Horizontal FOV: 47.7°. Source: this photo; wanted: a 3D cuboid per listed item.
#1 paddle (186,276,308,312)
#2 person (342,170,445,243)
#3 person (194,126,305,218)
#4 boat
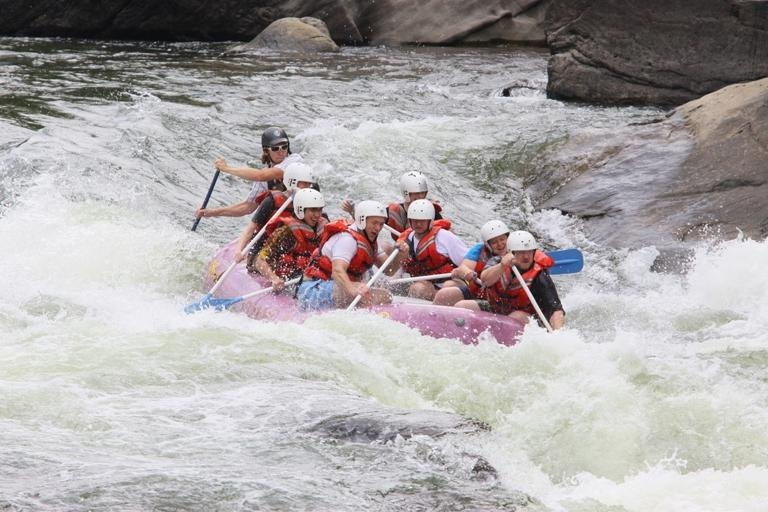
[{"bbox_3d":[-1.664,0.484,10.974,1.683,0.225,0.090,-12,10,8],"label":"paddle"},{"bbox_3d":[0.112,-0.663,12.155,1.606,1.254,0.473,-5,-2,-24],"label":"person"},{"bbox_3d":[-1.803,-1.348,12.235,1.173,0.684,1.665,-4,3,-23],"label":"person"},{"bbox_3d":[-0.422,0.273,10.443,2.981,0.428,1.388,10,9,30],"label":"boat"}]
